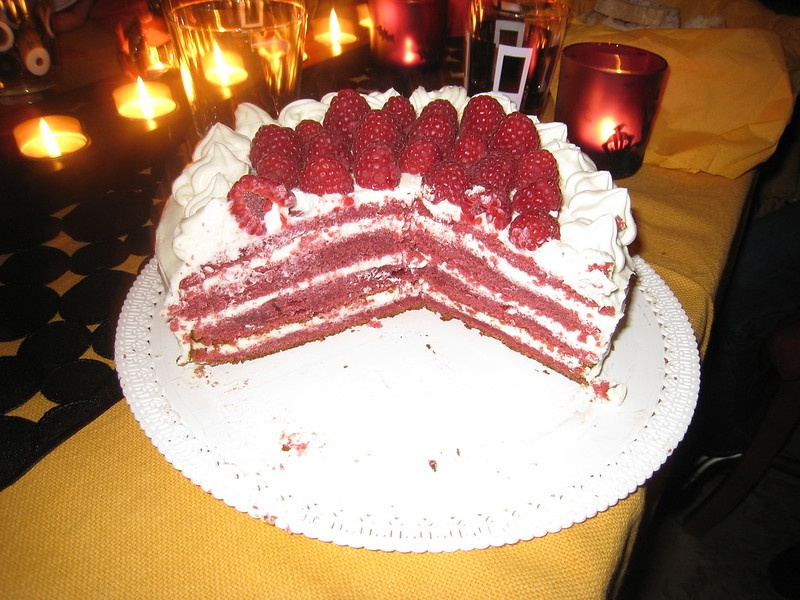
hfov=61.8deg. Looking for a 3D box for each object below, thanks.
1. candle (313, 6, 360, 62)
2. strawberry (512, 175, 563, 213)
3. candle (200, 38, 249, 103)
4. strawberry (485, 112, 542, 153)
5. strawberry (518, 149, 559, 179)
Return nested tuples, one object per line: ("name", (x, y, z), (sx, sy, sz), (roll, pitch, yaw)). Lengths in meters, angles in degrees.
("candle", (-0.386, -1.601, 3.883), (0.278, 0.211, 0.532), (-3, 46, -2))
("strawberry", (0.557, -0.418, 2.720), (0.167, 0.126, 0.130), (-4, 45, 4))
("candle", (-0.852, -1.115, 3.191), (0.157, 0.225, 0.052), (-30, 27, -19))
("strawberry", (0.489, -0.699, 2.856), (0.211, 0.190, 0.170), (-15, 65, 15))
("strawberry", (0.570, -0.530, 2.743), (0.144, 0.126, 0.112), (-4, 59, 14))
